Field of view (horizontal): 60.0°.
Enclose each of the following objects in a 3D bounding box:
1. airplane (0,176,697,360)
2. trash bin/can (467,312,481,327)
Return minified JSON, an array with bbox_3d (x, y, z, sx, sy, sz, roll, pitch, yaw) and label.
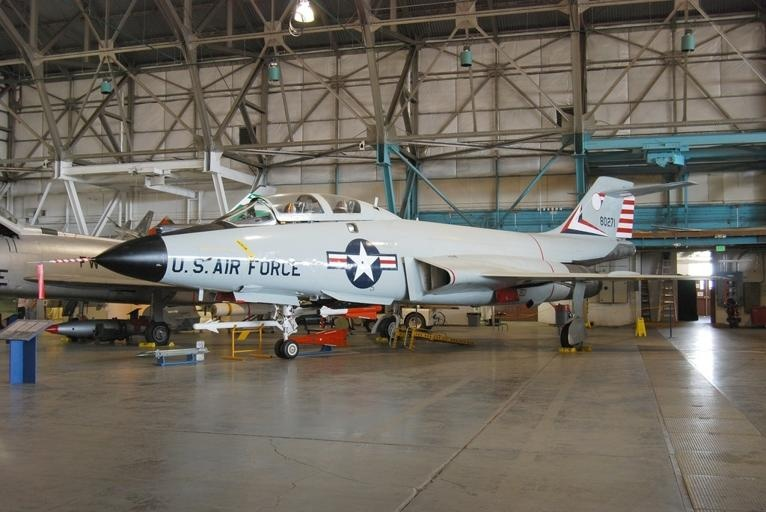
[{"bbox_3d":[-0.200,0.125,16.218,11.914,2.273,7.920,3,-3,-28],"label":"airplane"},{"bbox_3d":[3.949,2.824,29.484,0.701,0.532,0.799,-1,-2,24],"label":"trash bin/can"}]
